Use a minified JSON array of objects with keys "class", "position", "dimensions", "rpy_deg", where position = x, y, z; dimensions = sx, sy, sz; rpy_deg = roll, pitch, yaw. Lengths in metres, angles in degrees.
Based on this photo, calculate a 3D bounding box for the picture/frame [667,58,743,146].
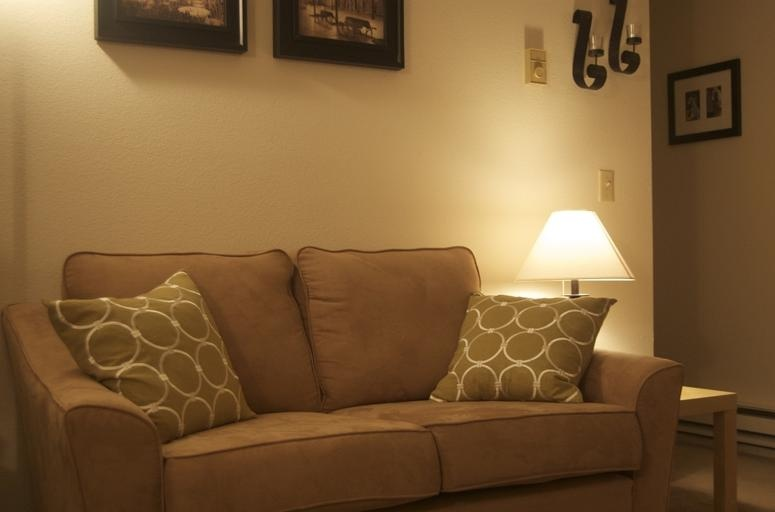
[{"class":"picture/frame","position":[2.169,-1.049,4.463],"dimensions":[0.044,0.671,0.600],"rpy_deg":[3,-4,-38]}]

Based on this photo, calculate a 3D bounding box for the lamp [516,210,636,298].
[{"class":"lamp","position":[0.988,-0.025,3.390],"dimensions":[0.451,0.354,0.487],"rpy_deg":[0,-2,-4]}]

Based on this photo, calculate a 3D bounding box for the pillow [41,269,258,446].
[{"class":"pillow","position":[-0.864,0.383,2.441],"dimensions":[0.182,0.620,0.569],"rpy_deg":[-37,-21,30]}]

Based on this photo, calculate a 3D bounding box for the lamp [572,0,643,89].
[{"class":"lamp","position":[1.330,-1.258,3.875],"dimensions":[0.451,0.544,0.285],"rpy_deg":[-1,11,-22]}]
